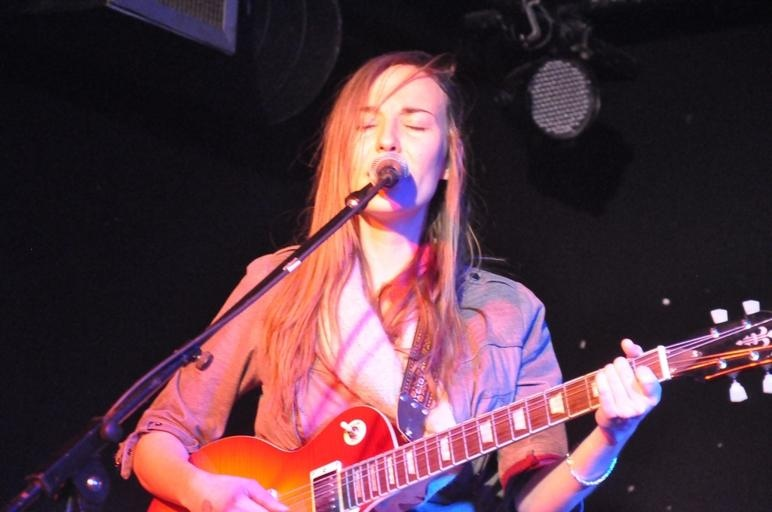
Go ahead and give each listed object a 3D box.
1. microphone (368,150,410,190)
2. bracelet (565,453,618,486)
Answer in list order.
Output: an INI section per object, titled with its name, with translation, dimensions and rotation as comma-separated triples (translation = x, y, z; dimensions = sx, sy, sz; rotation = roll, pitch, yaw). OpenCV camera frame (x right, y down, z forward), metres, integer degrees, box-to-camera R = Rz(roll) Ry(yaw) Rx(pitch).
[microphone]
translation = 0.017, -0.376, 3.314
dimensions = 0.167, 0.118, 0.316
rotation = 2, 9, 8
[bracelet]
translation = 0.865, 0.916, 3.147
dimensions = 0.196, 0.125, 0.057
rotation = 0, -7, 12
